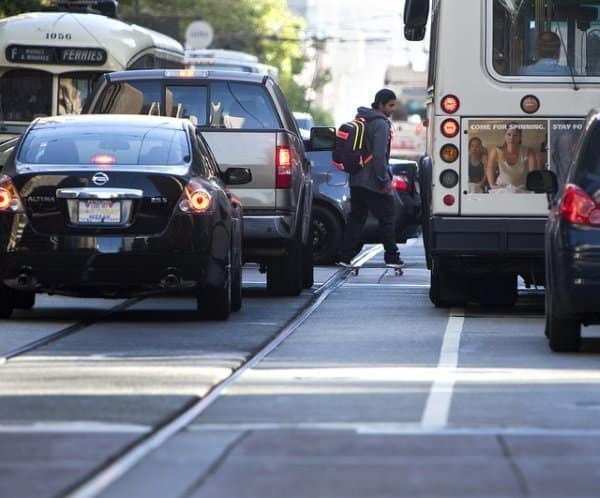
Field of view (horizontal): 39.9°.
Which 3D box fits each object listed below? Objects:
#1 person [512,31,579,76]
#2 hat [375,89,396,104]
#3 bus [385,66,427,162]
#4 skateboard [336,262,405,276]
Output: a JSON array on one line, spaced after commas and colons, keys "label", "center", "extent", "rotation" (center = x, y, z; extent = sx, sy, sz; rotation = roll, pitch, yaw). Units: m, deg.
[{"label": "person", "center": [2.626, -2.027, 8.926], "extent": [0.844, 0.558, 0.418], "rotation": [1, 15, 5]}, {"label": "hat", "center": [1.377, -2.517, 13.550], "extent": [0.314, 0.268, 0.235], "rotation": [-21, 11, -9]}, {"label": "bus", "center": [4.949, -6.434, 37.998], "extent": [2.706, 3.632, 7.678], "rotation": [1, 7, 6]}, {"label": "skateboard", "center": [1.254, 0.330, 15.373], "extent": [1.495, 0.259, 0.349], "rotation": [0, 5, -5]}]
